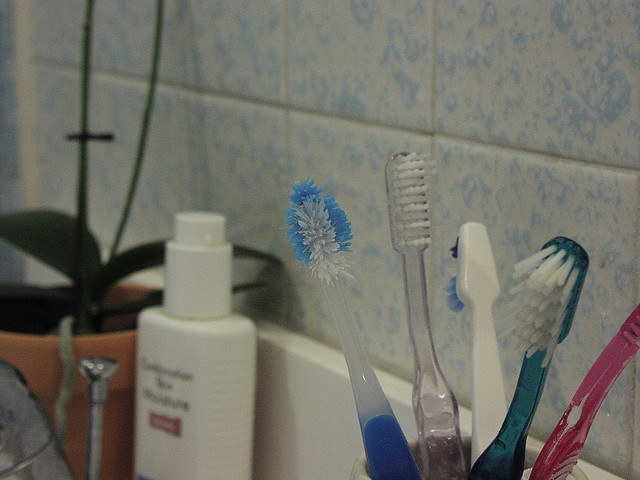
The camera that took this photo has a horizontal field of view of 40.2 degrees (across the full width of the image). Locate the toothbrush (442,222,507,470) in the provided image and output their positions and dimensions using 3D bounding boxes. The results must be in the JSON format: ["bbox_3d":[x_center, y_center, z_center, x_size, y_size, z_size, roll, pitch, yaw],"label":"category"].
[{"bbox_3d":[0.102,0.061,0.553,0.032,0.171,0.013,0,1,2],"label":"toothbrush"}]

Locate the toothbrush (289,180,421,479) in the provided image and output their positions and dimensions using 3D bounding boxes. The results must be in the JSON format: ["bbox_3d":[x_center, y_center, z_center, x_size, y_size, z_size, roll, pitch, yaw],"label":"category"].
[{"bbox_3d":[0.028,0.067,0.638,0.041,0.238,0.053,-15,0,-14],"label":"toothbrush"}]

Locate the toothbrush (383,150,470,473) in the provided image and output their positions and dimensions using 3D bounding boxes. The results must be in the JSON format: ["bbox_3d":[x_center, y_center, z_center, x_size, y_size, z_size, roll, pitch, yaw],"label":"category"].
[{"bbox_3d":[0.066,0.053,0.563,0.033,0.291,0.021,-4,3,1],"label":"toothbrush"}]

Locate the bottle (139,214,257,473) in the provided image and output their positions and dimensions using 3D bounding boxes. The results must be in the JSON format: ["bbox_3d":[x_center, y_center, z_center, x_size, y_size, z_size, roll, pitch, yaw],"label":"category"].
[{"bbox_3d":[-0.100,0.086,0.708,0.095,0.208,0.052,2,-6,-5],"label":"bottle"}]
